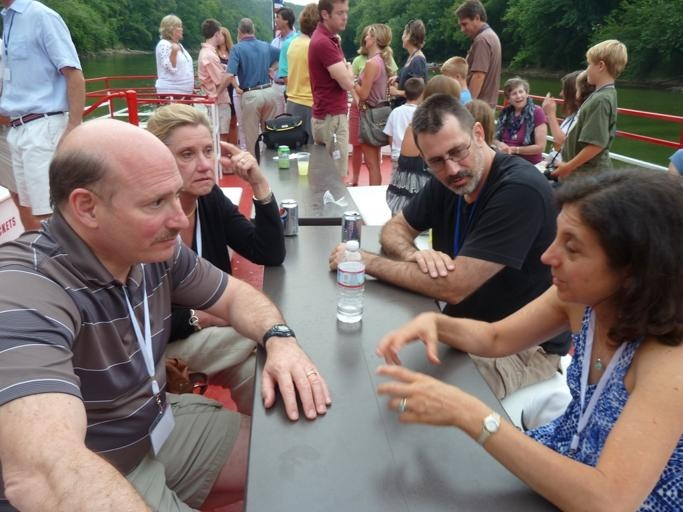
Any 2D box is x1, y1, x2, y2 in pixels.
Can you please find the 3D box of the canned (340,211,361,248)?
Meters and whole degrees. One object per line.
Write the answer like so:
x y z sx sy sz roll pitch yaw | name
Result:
0.056 -0.149 3.074 0.120 0.216 0.124 5 29 6 | canned

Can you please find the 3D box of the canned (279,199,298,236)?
-0.327 -0.229 3.250 0.162 0.204 0.165 1 12 3 | canned

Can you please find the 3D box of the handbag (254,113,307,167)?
-0.604 -1.304 5.654 0.521 0.403 0.264 -9 3 -12 | handbag

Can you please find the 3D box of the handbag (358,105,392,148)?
0.418 -1.648 6.443 0.464 0.598 0.283 -17 25 -35 | handbag

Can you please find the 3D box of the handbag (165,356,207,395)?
-0.763 0.565 2.518 0.228 0.112 0.308 4 0 -33 | handbag
